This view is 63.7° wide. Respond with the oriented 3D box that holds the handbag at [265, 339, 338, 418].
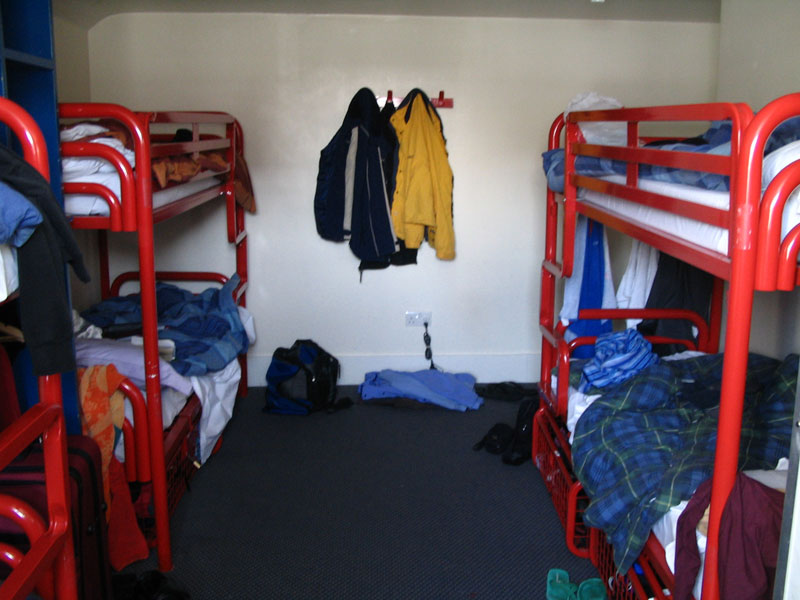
[{"bbox_3d":[-0.622,0.475,4.033,0.375,0.415,0.388,0,5,-2],"label":"handbag"}]
